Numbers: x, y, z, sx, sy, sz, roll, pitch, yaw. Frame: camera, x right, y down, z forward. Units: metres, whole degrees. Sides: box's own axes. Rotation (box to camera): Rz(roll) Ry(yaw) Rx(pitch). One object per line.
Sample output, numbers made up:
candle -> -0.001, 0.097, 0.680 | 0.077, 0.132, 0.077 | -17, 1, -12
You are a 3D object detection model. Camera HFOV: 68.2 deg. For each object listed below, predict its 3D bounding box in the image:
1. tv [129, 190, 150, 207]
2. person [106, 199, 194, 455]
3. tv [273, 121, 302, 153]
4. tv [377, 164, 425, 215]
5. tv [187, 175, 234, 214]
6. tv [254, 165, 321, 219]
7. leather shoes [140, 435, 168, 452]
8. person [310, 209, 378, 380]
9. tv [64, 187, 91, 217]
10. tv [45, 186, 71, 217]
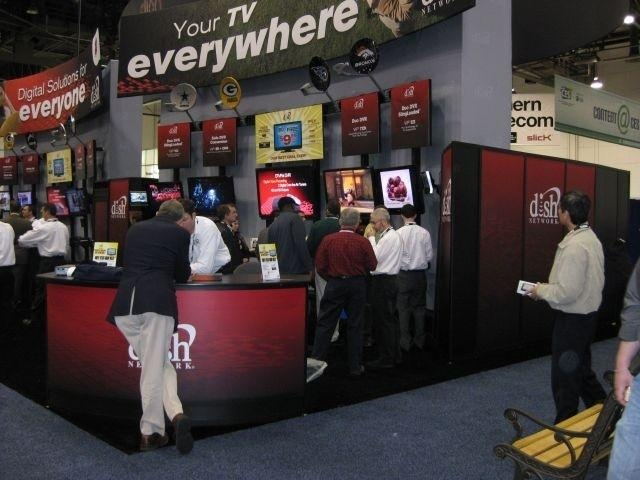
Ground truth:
tv -> -3.482, -0.781, 8.954 | 0.433, 0.337, 0.220 | -4, 12, -40
person -> -1.217, 0.595, 3.333 | 0.546, 1.694, 0.439 | -1, 4, -14
tv -> -0.495, -1.589, 7.305 | 0.466, 0.453, 0.114 | 0, 0, 36
tv -> 1.053, -0.631, 6.029 | 0.097, 0.654, 0.613 | -6, 3, -39
tv -> -1.882, -0.687, 8.070 | 0.900, 0.747, 0.219 | 1, 0, 10
tv -> -0.455, -0.720, 7.073 | 0.789, 0.632, 0.110 | 1, -1, 33
leather shoes -> -1.180, 1.413, 3.311 | 0.079, 0.091, 0.199 | 0, 1, 14
person -> 0.191, 0.522, 4.606 | 0.752, 1.640, 0.469 | -1, 4, -18
tv -> -5.635, -0.874, 10.873 | 0.536, 0.573, 0.286 | 12, 19, 38
tv -> -5.821, -0.851, 10.435 | 0.721, 0.933, 0.115 | -1, 2, 36
